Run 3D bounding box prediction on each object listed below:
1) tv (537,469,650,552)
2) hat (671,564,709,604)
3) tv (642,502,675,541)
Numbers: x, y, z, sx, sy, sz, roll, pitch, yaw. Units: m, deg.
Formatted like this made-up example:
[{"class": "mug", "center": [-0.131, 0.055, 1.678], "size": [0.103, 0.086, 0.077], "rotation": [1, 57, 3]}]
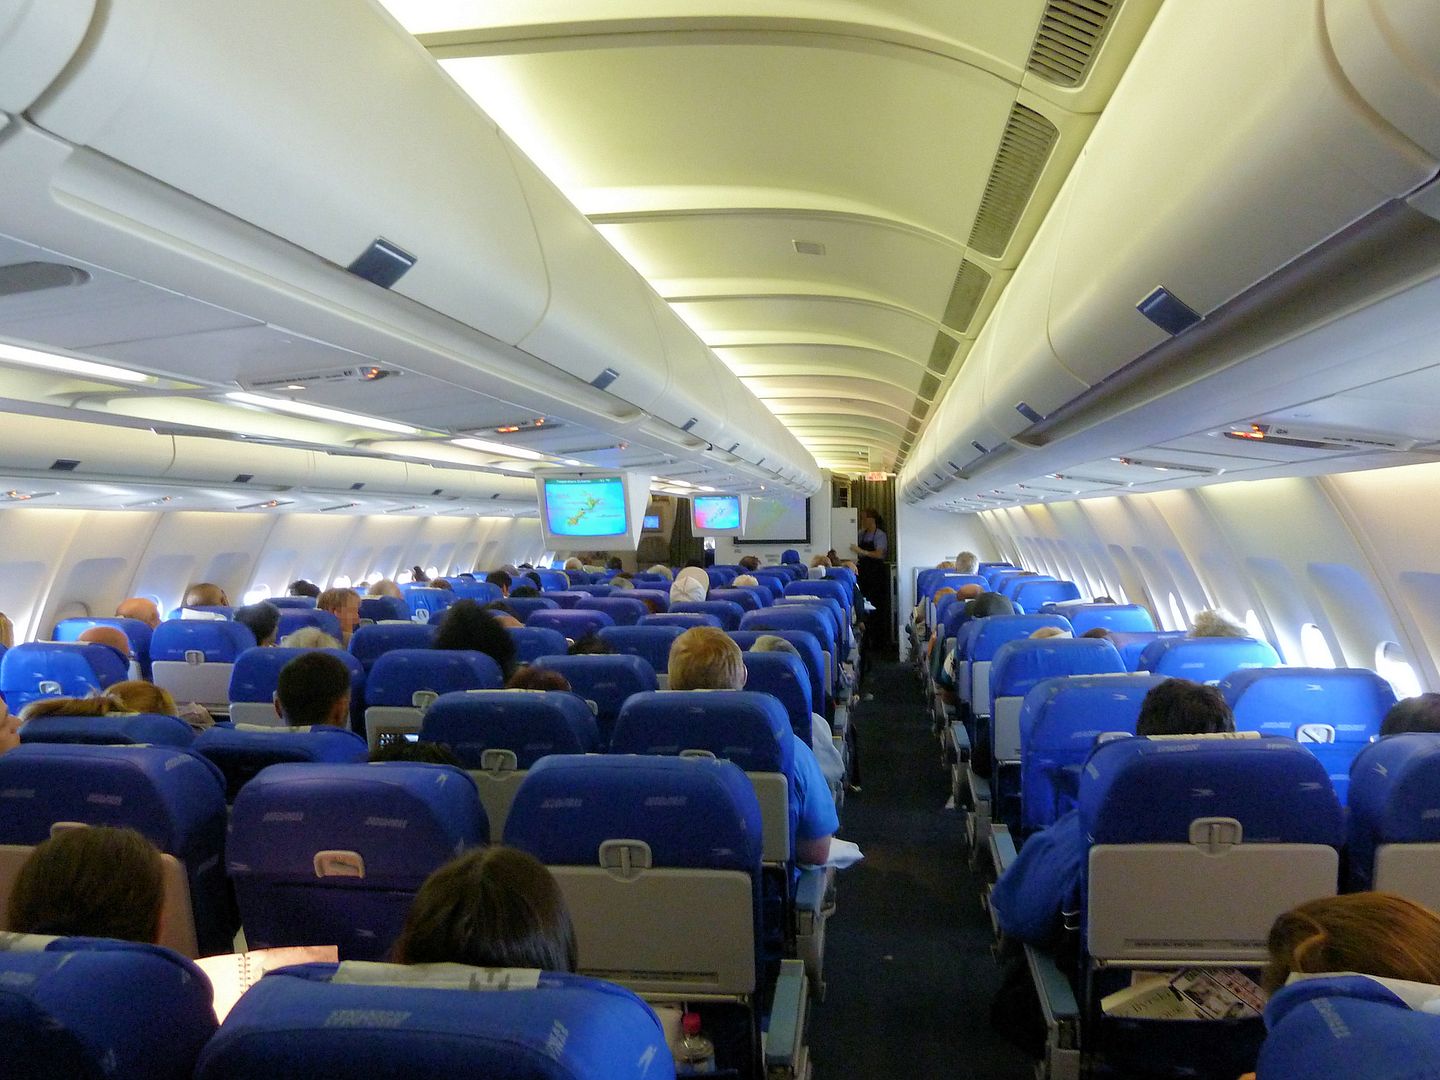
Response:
[{"class": "tv", "center": [-1.410, -0.312, 11.454], "size": [0.923, 0.570, 0.968], "rotation": [0, -3, 5]}, {"class": "hat", "center": [-0.311, 0.439, 9.357], "size": [0.274, 0.345, 0.348], "rotation": [2, -54, 5]}, {"class": "tv", "center": [-1.623, -0.472, 25.703], "size": [0.583, 0.678, 1.110], "rotation": [0, 6, 8]}]
